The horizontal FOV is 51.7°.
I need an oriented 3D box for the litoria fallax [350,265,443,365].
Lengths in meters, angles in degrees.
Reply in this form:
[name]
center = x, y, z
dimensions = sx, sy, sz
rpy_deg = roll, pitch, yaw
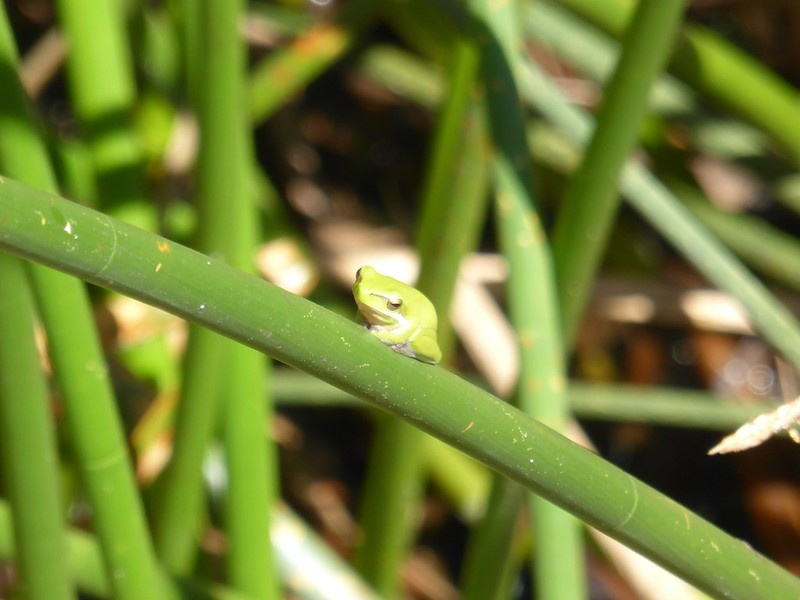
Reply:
[litoria fallax]
center = -0.004, 0.035, 0.978
dimensions = 0.086, 0.067, 0.125
rpy_deg = 0, 35, -32
